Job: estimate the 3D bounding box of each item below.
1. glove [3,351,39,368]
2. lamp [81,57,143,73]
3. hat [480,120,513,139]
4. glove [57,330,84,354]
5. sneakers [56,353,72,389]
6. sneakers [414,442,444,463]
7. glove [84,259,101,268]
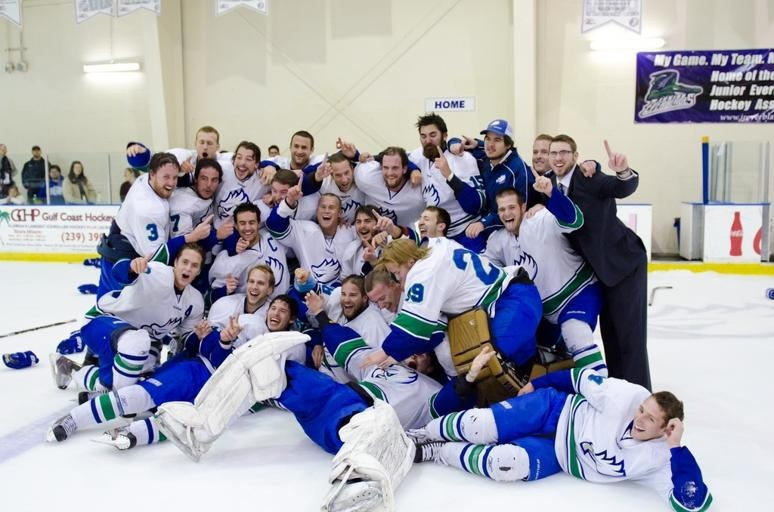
[{"bbox_3d":[-5.020,1.422,10.595,0.297,0.112,0.263,-7,55,-43],"label":"glove"},{"bbox_3d":[-6.996,-4.826,19.706,1.617,0.346,0.209,-1,9,11],"label":"lamp"},{"bbox_3d":[1.512,-1.718,10.463,0.361,0.212,0.260,16,1,-23],"label":"hat"},{"bbox_3d":[-4.413,1.229,10.790,0.150,0.351,0.393,6,-17,-27],"label":"glove"},{"bbox_3d":[-4.175,1.494,10.064,0.195,0.477,0.180,2,0,-5],"label":"sneakers"},{"bbox_3d":[0.474,2.213,8.726,0.421,0.161,0.190,-7,12,10],"label":"sneakers"},{"bbox_3d":[-6.527,0.161,17.171,0.336,0.174,0.193,-5,-5,29],"label":"glove"}]
